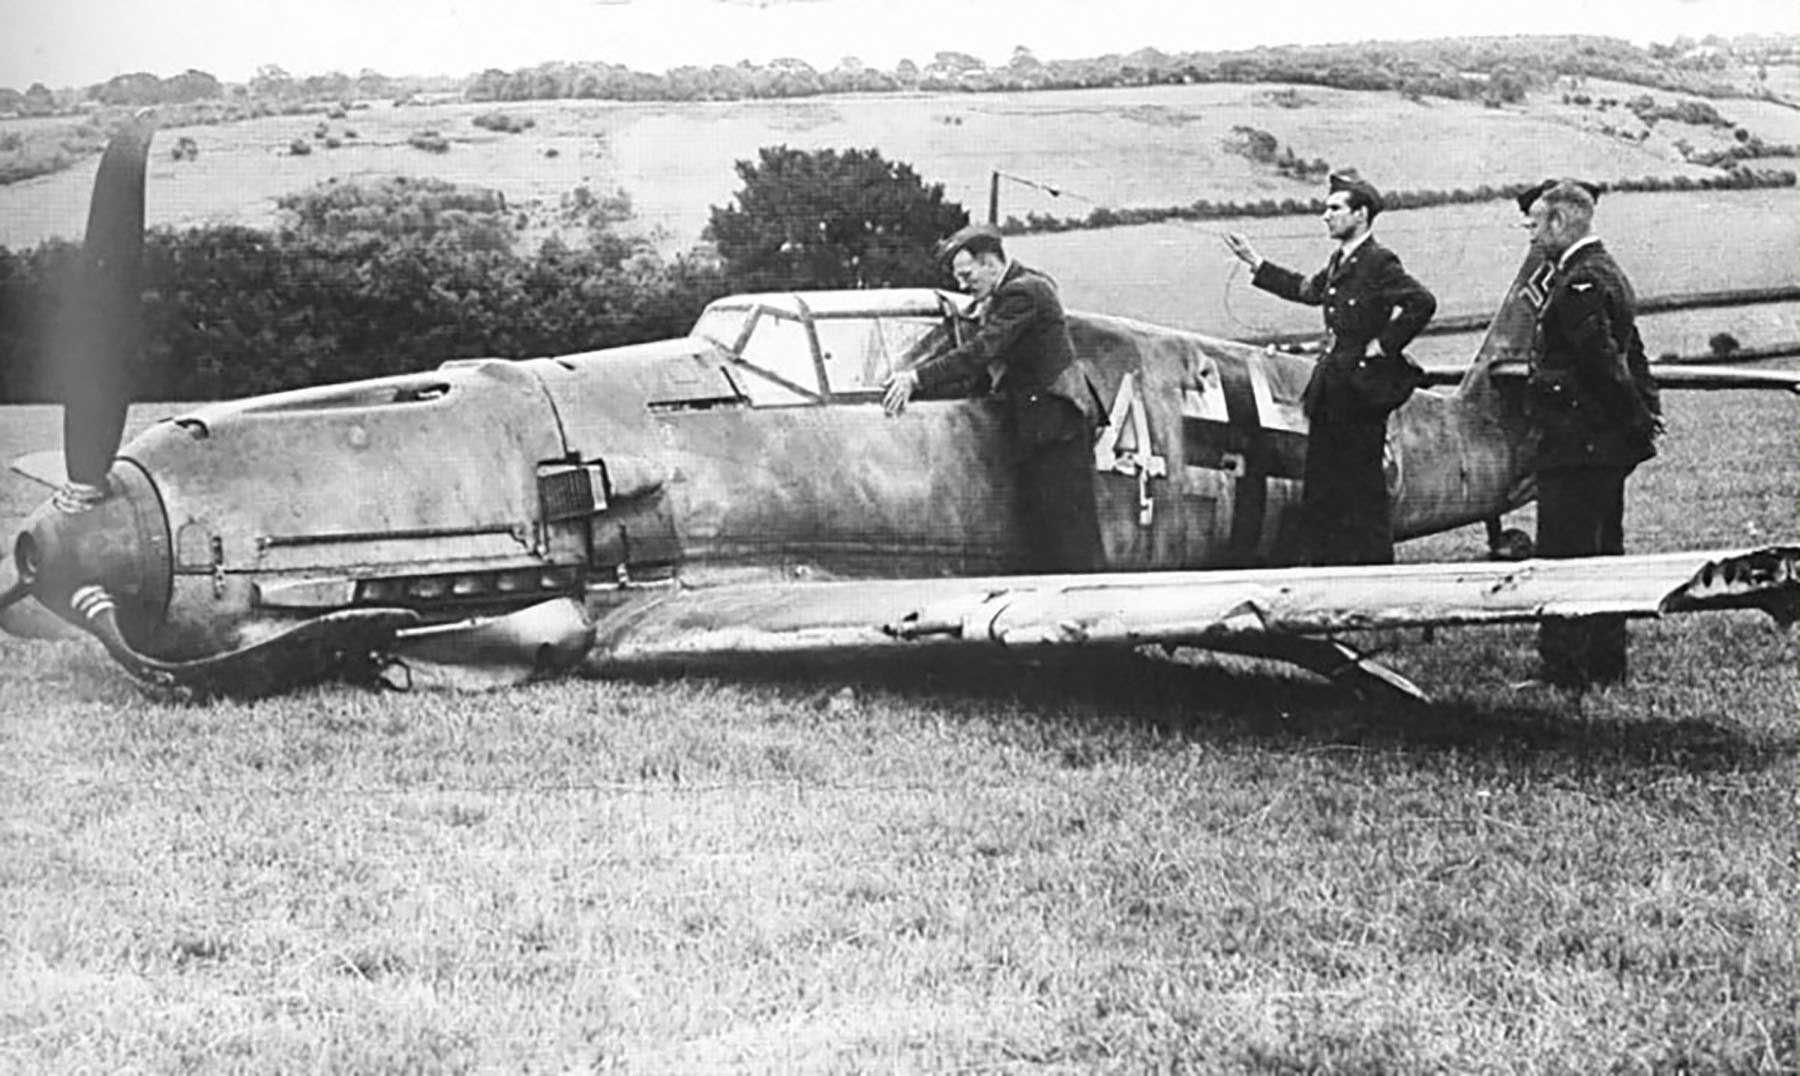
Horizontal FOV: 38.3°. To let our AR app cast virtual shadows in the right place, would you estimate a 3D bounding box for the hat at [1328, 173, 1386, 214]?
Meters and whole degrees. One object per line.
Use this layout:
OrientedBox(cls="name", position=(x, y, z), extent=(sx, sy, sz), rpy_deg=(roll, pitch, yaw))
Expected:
OrientedBox(cls="hat", position=(1.785, -1.299, 10.044), extent=(0.170, 0.067, 0.146), rpy_deg=(23, 9, 14))
